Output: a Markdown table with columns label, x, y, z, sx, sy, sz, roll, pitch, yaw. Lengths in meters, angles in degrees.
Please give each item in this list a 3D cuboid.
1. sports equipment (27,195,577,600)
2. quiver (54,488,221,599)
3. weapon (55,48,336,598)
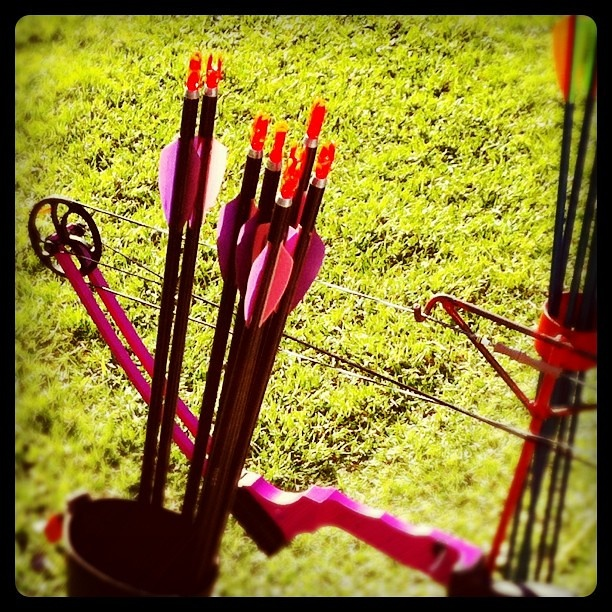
| label | x | y | z | sx | sy | sz | roll | pitch | yaw |
| --- | --- | --- | --- | --- | --- | --- | --- | --- | --- |
| sports equipment | -0.017 | 0.243 | 1.290 | 1.207 | 0.527 | 0.144 | 28 | -4 | -24 |
| quiver | -0.333 | 0.480 | 1.220 | 0.234 | 0.165 | 0.197 | 31 | 23 | 10 |
| weapon | -0.254 | 0.084 | 1.117 | 0.409 | 1.010 | 0.451 | -7 | 34 | -25 |
